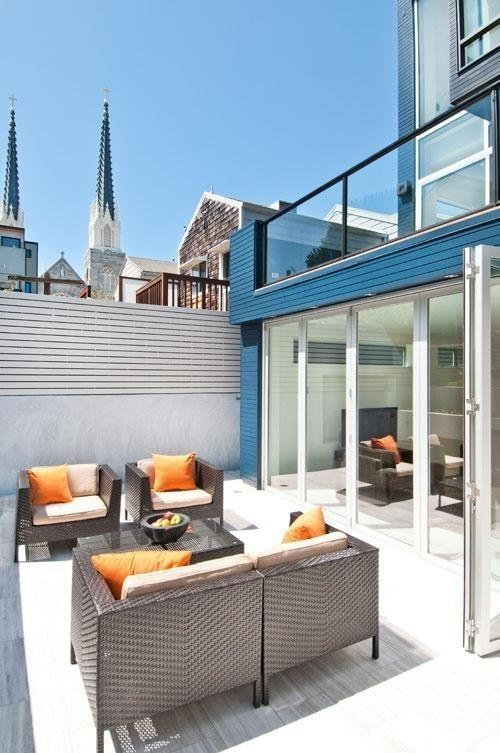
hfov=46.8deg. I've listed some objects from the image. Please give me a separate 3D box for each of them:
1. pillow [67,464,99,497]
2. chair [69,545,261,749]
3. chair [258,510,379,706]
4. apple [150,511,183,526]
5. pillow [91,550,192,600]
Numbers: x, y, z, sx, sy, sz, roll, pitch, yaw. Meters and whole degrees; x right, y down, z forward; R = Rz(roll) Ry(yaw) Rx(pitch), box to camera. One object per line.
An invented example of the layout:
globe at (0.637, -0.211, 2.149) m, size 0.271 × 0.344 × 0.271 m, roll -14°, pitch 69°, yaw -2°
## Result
pillow at (-1.620, 1.003, 5.530) m, size 0.234 × 0.228 × 0.083 m, roll 6°, pitch -18°, yaw -31°
chair at (-0.356, 1.228, 2.627) m, size 0.735 × 0.627 × 0.753 m, roll 0°, pitch 4°, yaw -20°
chair at (0.384, 1.149, 3.060) m, size 0.613 × 0.608 × 0.602 m, roll -4°, pitch 5°, yaw -34°
apple at (-0.604, 1.028, 4.129) m, size 0.121 × 0.072 × 0.116 m, roll -5°, pitch -3°, yaw 33°
pillow at (-0.579, 0.927, 2.844) m, size 0.482 × 0.204 × 0.533 m, roll 2°, pitch -33°, yaw -21°
